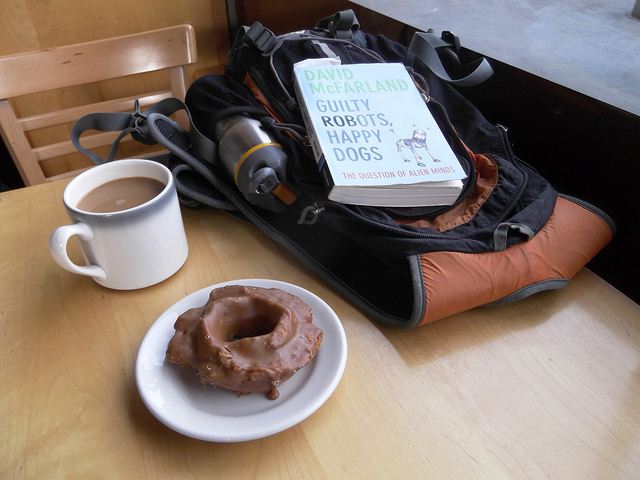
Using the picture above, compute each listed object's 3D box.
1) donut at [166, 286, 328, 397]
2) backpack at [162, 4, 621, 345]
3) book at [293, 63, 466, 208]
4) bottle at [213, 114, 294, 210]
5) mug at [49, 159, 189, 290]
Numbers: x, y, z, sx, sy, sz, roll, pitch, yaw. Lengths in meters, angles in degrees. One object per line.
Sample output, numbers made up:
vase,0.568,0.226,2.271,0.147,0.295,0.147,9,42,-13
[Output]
donut,-0.089,0.112,0.618,0.170,0.048,0.149,25,52,19
backpack,0.043,-0.050,0.968,0.561,0.241,0.702,-33,69,-28
book,0.079,-0.176,0.816,0.213,0.064,0.276,-13,61,-18
bottle,-0.099,-0.127,0.786,0.089,0.076,0.128,-28,62,-19
mug,-0.282,-0.015,0.716,0.146,0.108,0.183,12,44,14
